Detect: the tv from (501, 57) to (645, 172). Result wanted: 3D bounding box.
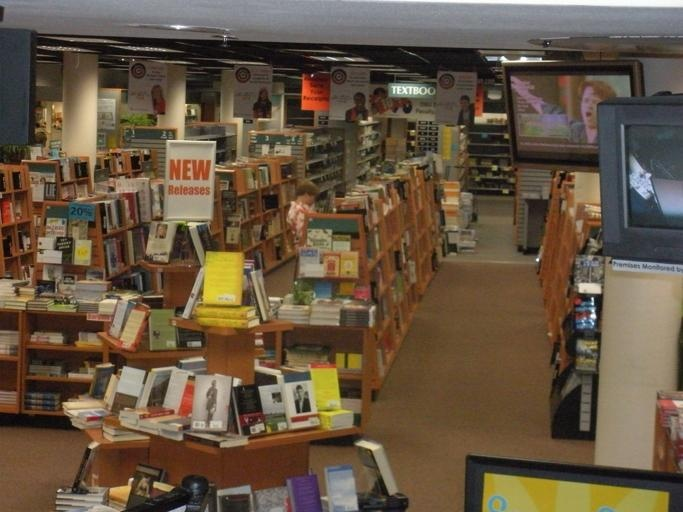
[{"bbox_3d":[1.428,-0.894,3.919,0.971,0.660,0.117,-4,5,-17],"label":"tv"}]

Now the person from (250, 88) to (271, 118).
[{"bbox_3d":[-1.918,-3.756,15.027,0.479,0.705,0.254,-4,14,-23],"label":"person"}]
